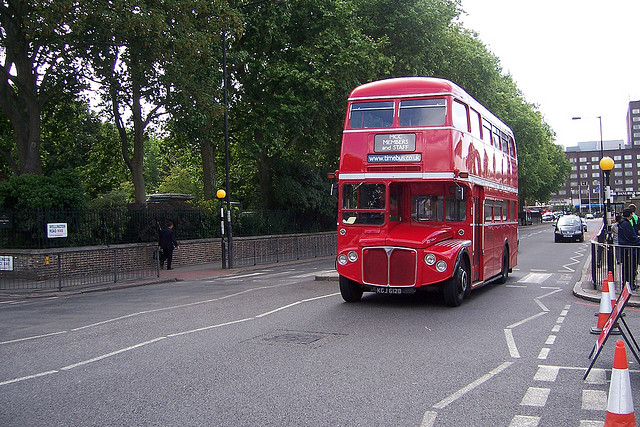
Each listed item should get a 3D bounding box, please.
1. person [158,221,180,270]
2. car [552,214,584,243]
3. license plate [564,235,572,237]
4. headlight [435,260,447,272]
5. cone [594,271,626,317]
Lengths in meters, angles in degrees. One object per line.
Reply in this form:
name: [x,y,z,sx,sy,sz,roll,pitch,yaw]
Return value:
person: [-7.522,1.580,25.070,0.785,2.427,1.155,-2,0,-25]
car: [20.741,1.048,42.019,1.769,1.701,3.073,-4,-10,27]
license plate: [20.118,1.723,40.707,0.603,0.117,0.117,-3,0,2]
headlight: [3.143,1.311,12.957,0.245,0.289,0.269,-1,2,3]
cone: [6.895,1.867,11.924,0.568,1.238,0.576,-1,1,29]
